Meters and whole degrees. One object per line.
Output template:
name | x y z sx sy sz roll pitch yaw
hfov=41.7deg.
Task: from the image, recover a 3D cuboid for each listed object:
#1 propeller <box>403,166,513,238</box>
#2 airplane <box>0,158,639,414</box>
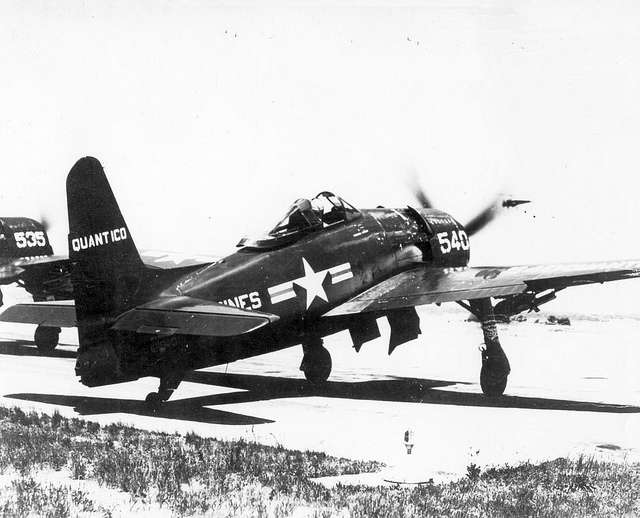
propeller | 1.917 -0.564 10.465 1.300 0.785 0.352 24 45 38
airplane | -0.335 0.353 9.446 3.714 1.840 4.291 1 2 -44
